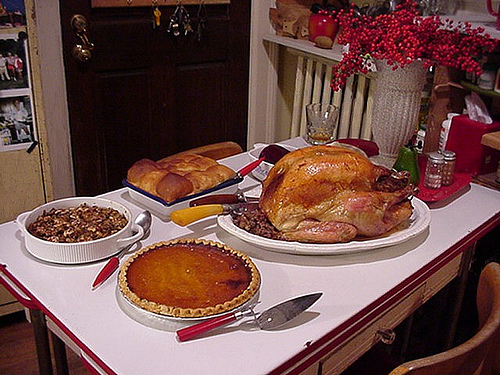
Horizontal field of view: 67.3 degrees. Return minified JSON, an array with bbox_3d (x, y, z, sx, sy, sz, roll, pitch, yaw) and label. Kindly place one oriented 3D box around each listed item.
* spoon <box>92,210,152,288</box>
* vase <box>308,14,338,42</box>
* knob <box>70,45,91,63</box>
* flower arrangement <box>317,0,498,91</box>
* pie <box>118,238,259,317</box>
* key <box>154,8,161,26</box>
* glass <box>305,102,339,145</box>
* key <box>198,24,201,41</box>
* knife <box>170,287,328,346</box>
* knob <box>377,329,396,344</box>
[{"bbox_3d":[-0.322,0.157,0.988,0.044,0.038,0.249,8,38,26],"label":"spoon"},{"bbox_3d":[0.431,-0.936,2.230,0.186,0.147,0.127,12,24,23],"label":"vase"},{"bbox_3d":[-0.929,-0.722,2.055,0.099,0.092,0.034,-6,23,-22],"label":"knob"},{"bbox_3d":[0.606,-0.513,1.358,0.480,0.317,0.621,14,25,27],"label":"flower arrangement"},{"bbox_3d":[-0.143,0.206,0.873,0.321,0.045,0.336,-2,16,-19],"label":"pie"},{"bbox_3d":[-0.540,-0.992,2.198,0.023,0.088,0.014,1,48,-7],"label":"key"},{"bbox_3d":[0.344,-0.298,1.753,0.158,0.181,0.167,6,30,15],"label":"glass"},{"bbox_3d":[-0.320,-0.983,2.396,0.017,0.093,0.012,21,28,39],"label":"key"},{"bbox_3d":[-0.010,0.273,0.782,0.282,0.063,0.049,-15,12,-16],"label":"knife"},{"bbox_3d":[0.365,0.396,1.000,0.042,0.031,0.020,10,-19,35],"label":"knob"}]
